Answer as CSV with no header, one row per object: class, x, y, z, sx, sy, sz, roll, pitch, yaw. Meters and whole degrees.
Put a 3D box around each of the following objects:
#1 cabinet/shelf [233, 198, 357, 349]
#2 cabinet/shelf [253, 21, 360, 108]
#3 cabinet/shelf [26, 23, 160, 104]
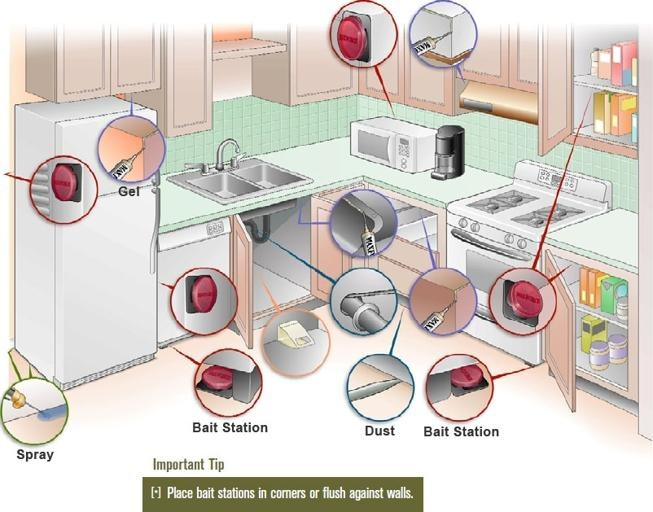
cabinet/shelf,-0.223,0.121,4.105,0.797,0.522,1.006,-17,-65,-34
cabinet/shelf,-0.064,-1.459,4.456,0.528,0.280,0.426,-24,-53,-37
cabinet/shelf,-1.392,-1.246,3.432,0.706,0.372,0.476,-29,-40,-46
